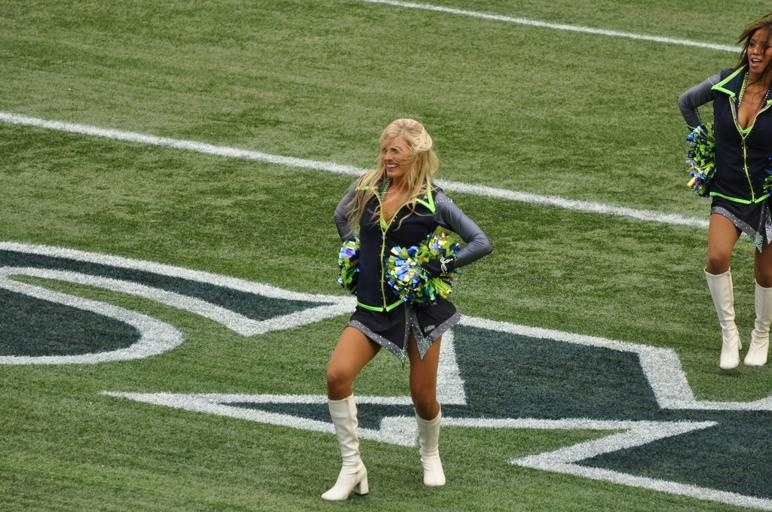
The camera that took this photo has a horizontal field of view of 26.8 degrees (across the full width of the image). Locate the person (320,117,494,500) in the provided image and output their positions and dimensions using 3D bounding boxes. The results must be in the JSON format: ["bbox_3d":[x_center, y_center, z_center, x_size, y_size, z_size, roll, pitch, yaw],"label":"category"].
[{"bbox_3d":[0.149,0.437,13.549,1.224,3.034,1.195,2,23,0],"label":"person"}]
